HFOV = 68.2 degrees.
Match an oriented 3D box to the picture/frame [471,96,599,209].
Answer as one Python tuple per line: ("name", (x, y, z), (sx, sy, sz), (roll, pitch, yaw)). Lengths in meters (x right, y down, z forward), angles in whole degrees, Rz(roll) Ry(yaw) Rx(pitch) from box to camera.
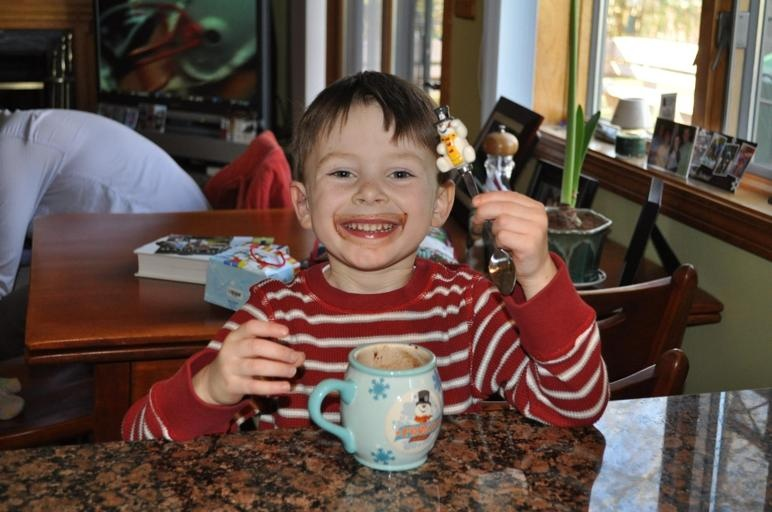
("picture/frame", (0.783, -0.531, 2.673), (0.141, 0.465, 0.711), (15, 16, -29))

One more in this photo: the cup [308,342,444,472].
("cup", (-0.009, 0.180, 0.750), (0.184, 0.139, 0.119), (-2, 7, -14))
